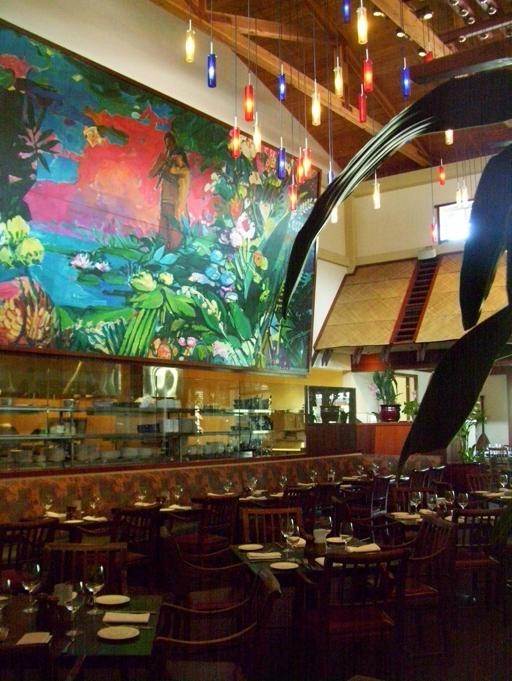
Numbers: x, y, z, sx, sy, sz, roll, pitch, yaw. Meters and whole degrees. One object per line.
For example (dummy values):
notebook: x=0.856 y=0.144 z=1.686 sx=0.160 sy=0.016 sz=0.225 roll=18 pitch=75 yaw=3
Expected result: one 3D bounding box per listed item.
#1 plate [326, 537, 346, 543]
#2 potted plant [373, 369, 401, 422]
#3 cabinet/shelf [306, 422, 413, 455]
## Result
plate: x=0.619 y=1.557 z=4.036 sx=0.133 sy=0.020 sz=0.138 roll=0 pitch=-3 yaw=-6
potted plant: x=2.662 y=1.114 z=10.683 sx=0.524 sy=1.101 sz=1.015 roll=1 pitch=-6 yaw=13
cabinet/shelf: x=1.759 y=1.819 z=9.606 sx=2.214 sy=0.650 sz=0.977 roll=7 pitch=-7 yaw=-38
